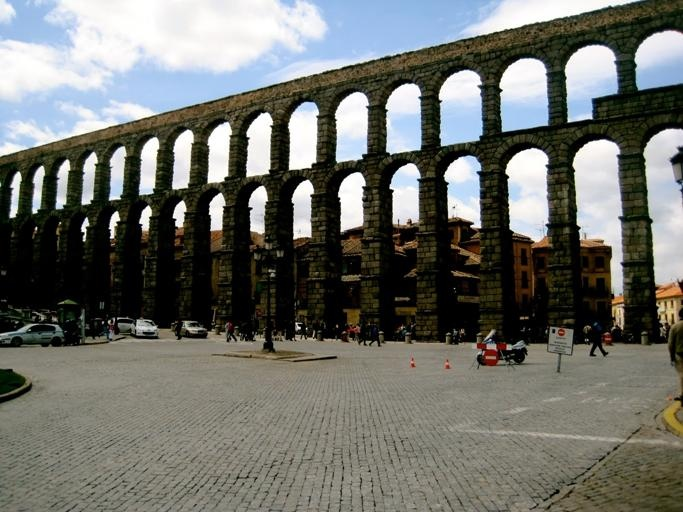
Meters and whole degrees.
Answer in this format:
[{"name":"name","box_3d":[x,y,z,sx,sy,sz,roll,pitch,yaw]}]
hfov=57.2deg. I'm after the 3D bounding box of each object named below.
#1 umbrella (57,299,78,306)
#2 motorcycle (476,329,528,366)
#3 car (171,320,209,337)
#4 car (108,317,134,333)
[{"name":"umbrella","box_3d":[-20.335,3.427,46.557,1.137,0.492,1.124,-9,-13,42]},{"name":"motorcycle","box_3d":[5.899,3.470,22.931,2.409,1.504,1.066,4,-15,-14]},{"name":"car","box_3d":[-10.714,5.177,44.282,1.164,0.826,2.721,5,-12,-35]},{"name":"car","box_3d":[-17.024,5.241,47.593,2.316,1.132,1.308,0,-6,-8]}]
